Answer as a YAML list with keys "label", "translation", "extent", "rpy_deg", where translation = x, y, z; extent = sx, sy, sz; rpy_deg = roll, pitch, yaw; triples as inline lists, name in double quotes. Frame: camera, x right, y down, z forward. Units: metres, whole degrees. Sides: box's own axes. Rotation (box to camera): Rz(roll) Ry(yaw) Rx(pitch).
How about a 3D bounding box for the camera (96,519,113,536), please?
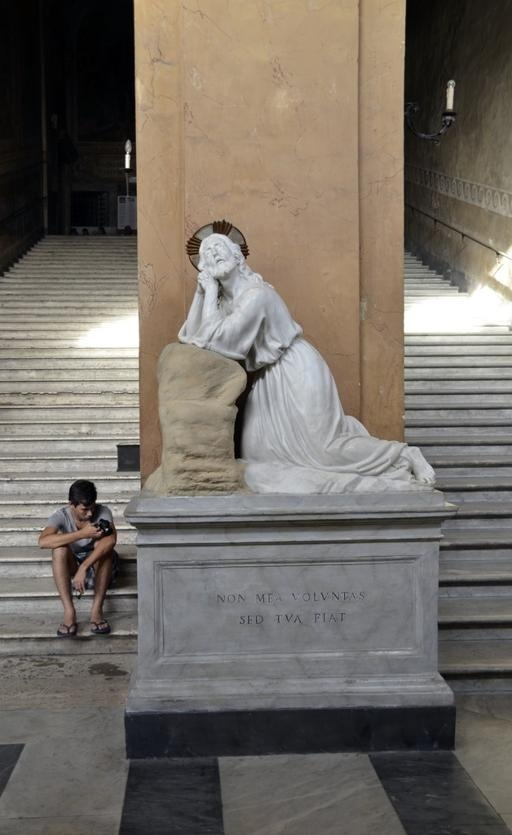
- label: "camera"
  translation: [-0.783, 0.578, 4.997]
  extent: [0.073, 0.094, 0.053]
  rpy_deg: [-15, 7, 16]

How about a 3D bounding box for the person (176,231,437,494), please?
- label: "person"
  translation: [0.225, -0.236, 4.113]
  extent: [0.943, 1.183, 0.774]
  rpy_deg: [-2, -1, 7]
